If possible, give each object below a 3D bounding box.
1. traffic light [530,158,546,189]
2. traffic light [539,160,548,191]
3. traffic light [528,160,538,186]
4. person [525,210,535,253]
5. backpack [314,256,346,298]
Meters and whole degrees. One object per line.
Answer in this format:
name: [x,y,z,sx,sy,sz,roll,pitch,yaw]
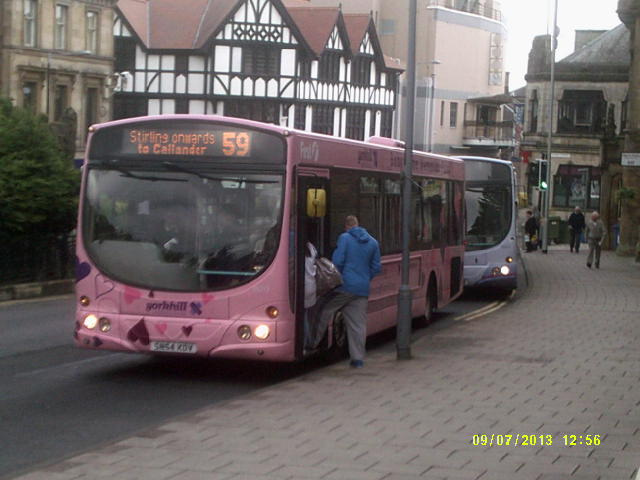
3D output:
traffic light: [10.606,-3.298,34.854,0.960,1.280,0.731,11,19,39]
traffic light: [11.201,-3.238,35.475,0.409,1.537,2.594,1,4,18]
traffic light: [10.329,-3.204,34.268,0.405,1.092,0.775,1,4,19]
person: [11.601,-0.346,39.127,0.499,1.863,0.683,1,4,17]
backpack: [0.158,0.505,10.079,0.383,0.403,0.212,-30,-2,44]
